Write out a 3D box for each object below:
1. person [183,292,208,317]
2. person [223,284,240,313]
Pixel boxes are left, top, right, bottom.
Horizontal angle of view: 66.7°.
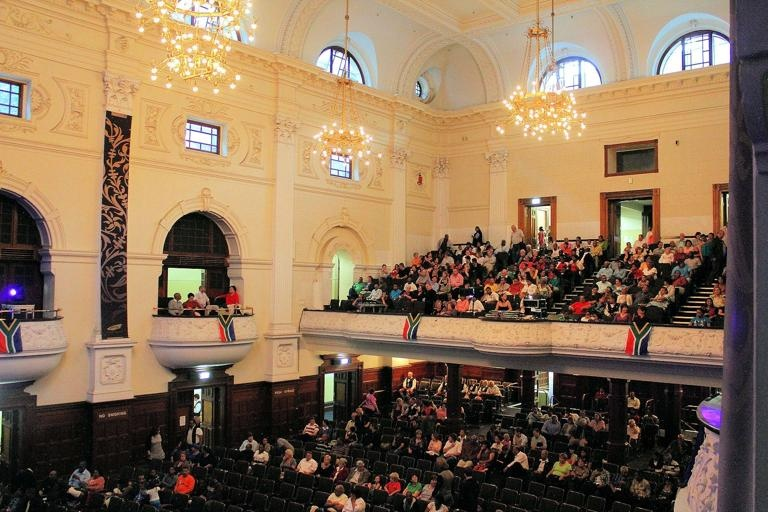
[{"bbox_3d":[-6.455,1.671,19.928,0.764,0.782,1.127,-1,-4,16],"label":"person"},{"bbox_3d":[-5.510,1.561,21.198,0.510,1.022,1.438,2,-4,-15],"label":"person"}]
